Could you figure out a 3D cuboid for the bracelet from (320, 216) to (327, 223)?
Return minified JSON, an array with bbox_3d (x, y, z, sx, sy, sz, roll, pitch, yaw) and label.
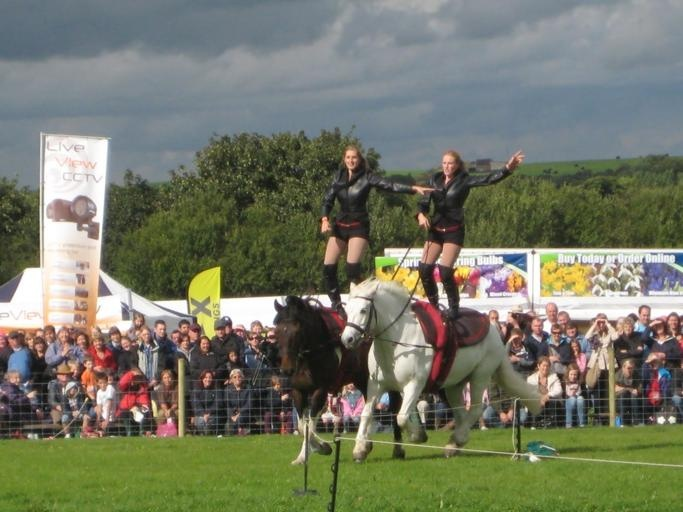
[{"bbox_3d":[-0.493,-1.096,52.298,0.165,0.153,0.157,1,-3,8],"label":"bracelet"}]
